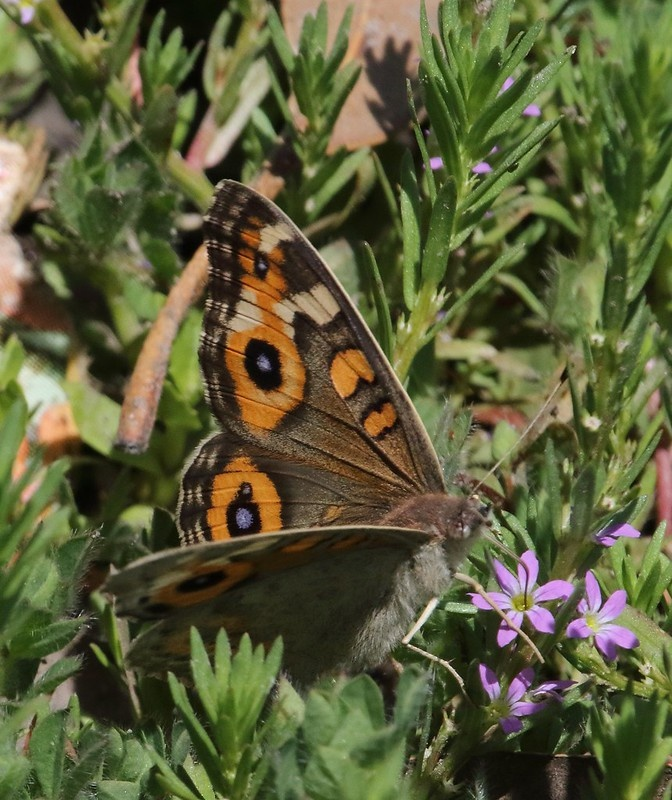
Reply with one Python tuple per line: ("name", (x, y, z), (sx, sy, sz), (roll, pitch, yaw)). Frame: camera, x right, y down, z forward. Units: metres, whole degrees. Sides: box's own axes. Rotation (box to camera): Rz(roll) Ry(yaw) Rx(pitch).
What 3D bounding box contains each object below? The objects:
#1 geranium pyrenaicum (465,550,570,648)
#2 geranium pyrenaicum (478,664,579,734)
("geranium pyrenaicum", (0.265, 0.285, 1.108), (0.140, 0.041, 0.133), (-27, 36, 0))
("geranium pyrenaicum", (0.240, 0.372, 1.063), (0.113, 0.057, 0.102), (17, 53, 6))
